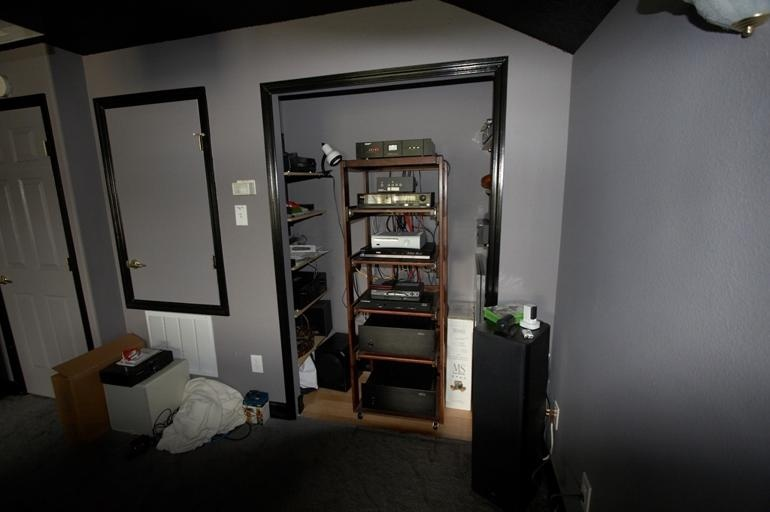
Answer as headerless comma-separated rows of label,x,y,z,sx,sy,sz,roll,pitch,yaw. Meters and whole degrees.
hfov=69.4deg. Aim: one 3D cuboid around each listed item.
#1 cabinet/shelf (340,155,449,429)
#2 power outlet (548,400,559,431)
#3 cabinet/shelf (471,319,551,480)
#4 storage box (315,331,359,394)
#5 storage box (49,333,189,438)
cabinet/shelf,0.109,0.239,4.583,0.819,2.092,0.848,1,8,6
power outlet,1.195,1.111,3.891,0.052,0.167,0.119,1,3,2
cabinet/shelf,0.729,0.977,3.747,0.457,0.883,0.375,2,-1,0
storage box,-0.419,0.926,4.743,0.300,0.314,0.428,0,7,8
storage box,-2.103,1.019,4.382,0.773,0.498,0.791,1,11,11
